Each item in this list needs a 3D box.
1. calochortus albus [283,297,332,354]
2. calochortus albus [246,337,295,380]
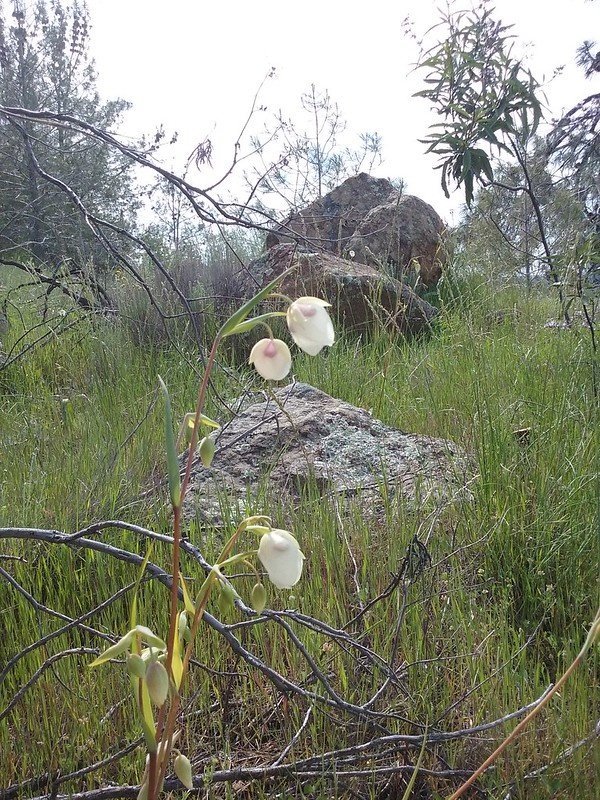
[{"bbox_3d":[0.018,-0.115,1.050,0.066,0.101,0.178,-8,7,3],"label":"calochortus albus"},{"bbox_3d":[-0.050,-0.064,1.084,0.062,0.077,0.140,-10,7,-3],"label":"calochortus albus"}]
